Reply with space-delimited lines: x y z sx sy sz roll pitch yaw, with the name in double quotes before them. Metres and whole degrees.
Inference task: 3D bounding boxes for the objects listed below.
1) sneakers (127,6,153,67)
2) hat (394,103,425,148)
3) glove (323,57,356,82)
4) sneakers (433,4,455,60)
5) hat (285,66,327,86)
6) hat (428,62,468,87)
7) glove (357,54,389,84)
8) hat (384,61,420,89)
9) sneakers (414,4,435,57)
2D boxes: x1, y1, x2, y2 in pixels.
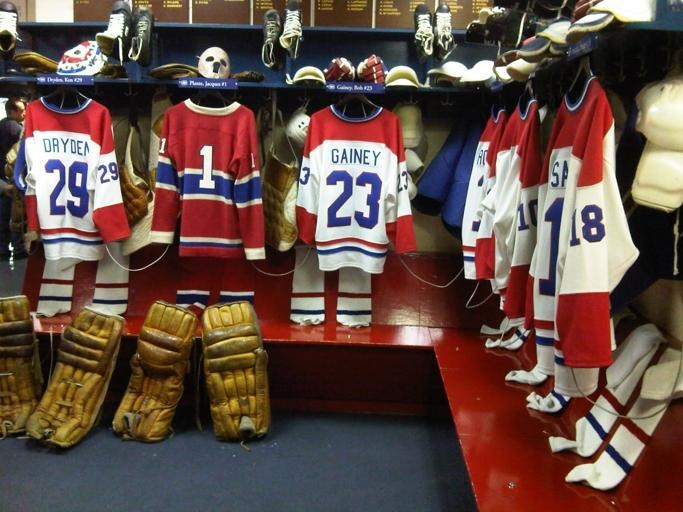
"sneakers" -1.117 -1.220 3.590 0.102 0.373 0.137 2 -3 0
"hat" 0.389 -0.768 3.797 0.188 0.380 0.257 0 5 4
"glove" -0.001 -1.055 3.633 0.136 0.134 0.151 -31 10 29
"sneakers" 0.575 -1.286 3.629 0.102 0.366 0.191 0 10 0
"hat" -0.205 -1.023 3.614 0.234 0.102 0.201 2 20 -1
"hat" 0.589 -1.035 3.649 0.152 0.099 0.175 -4 8 -31
"glove" 0.172 -1.075 3.656 0.160 0.147 0.290 2 20 0
"hat" 0.343 -1.024 3.637 0.195 0.114 0.139 5 19 7
"sneakers" 0.472 -1.293 3.621 0.090 0.337 0.118 0 1 5
